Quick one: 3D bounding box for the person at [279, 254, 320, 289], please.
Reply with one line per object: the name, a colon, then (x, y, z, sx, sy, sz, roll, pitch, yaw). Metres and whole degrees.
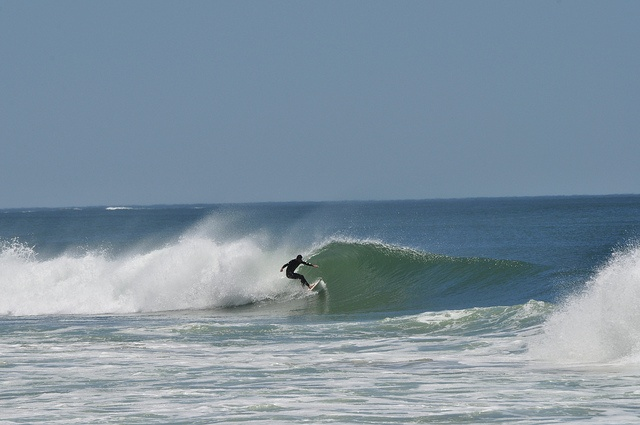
person: (-0.746, 1.990, 36.356, 1.458, 1.180, 0.468, -3, -5, -11)
